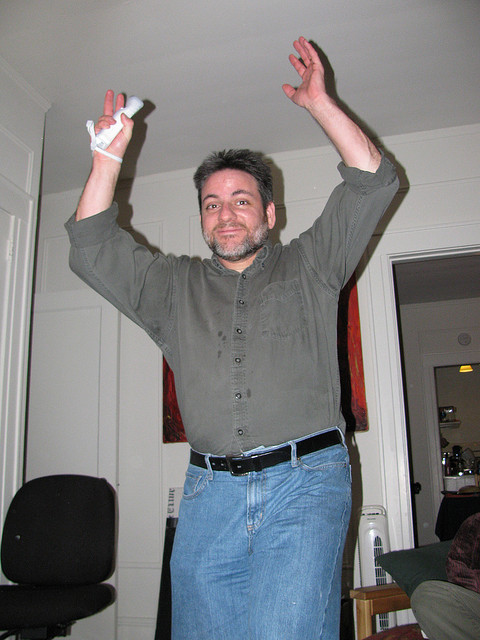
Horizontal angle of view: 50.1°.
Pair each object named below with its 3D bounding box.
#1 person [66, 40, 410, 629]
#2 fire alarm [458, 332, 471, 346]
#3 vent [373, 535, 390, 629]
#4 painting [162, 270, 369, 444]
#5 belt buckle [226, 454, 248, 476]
[{"bbox_3d":[0.008,-0.017,1.148,0.713,1.266,0.393,-7,-13,21],"label":"person"},{"bbox_3d":[2.578,0.225,5.878,0.138,0.155,0.059,-8,-13,23],"label":"fire alarm"},{"bbox_3d":[0.653,1.180,2.383,0.087,0.479,0.132,0,-4,10],"label":"vent"},{"bbox_3d":[0.098,0.216,2.913,1.169,0.893,0.226,-6,-13,17],"label":"painting"},{"bbox_3d":[-0.006,0.281,0.993,0.041,0.040,0.016,-4,-12,4],"label":"belt buckle"}]
